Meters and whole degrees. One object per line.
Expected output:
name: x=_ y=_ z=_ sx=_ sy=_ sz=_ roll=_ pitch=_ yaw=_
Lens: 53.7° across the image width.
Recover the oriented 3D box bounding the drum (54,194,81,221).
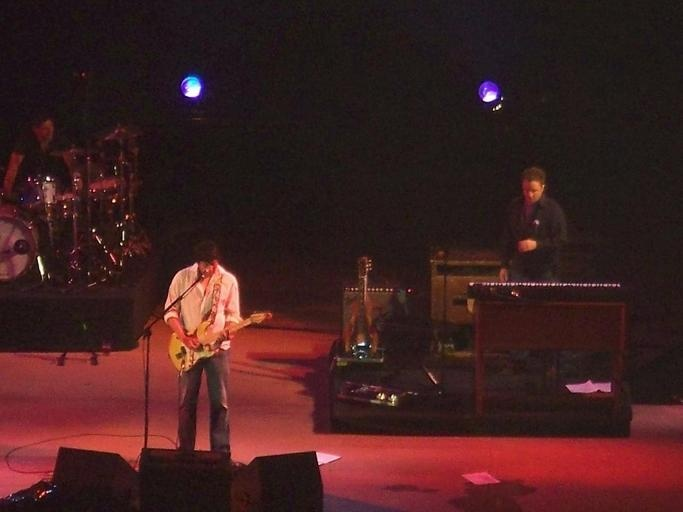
drum: x=-3.288 y=-0.608 z=8.152 sx=0.278 sy=0.312 sz=0.274 roll=1 pitch=4 yaw=-16

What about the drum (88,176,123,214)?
drum: x=-3.132 y=-0.835 z=9.021 sx=0.425 sy=0.512 sz=1.091 roll=-4 pitch=11 yaw=-18

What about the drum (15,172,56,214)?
drum: x=-3.653 y=-0.756 z=8.212 sx=0.487 sy=0.478 sz=0.455 roll=1 pitch=-1 yaw=4

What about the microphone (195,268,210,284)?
microphone: x=-1.034 y=0.151 z=5.060 sx=0.107 sy=0.105 sz=0.192 roll=-3 pitch=11 yaw=-14

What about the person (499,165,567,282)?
person: x=1.890 y=-0.311 z=6.650 sx=0.608 sy=1.149 sz=0.463 roll=2 pitch=11 yaw=12

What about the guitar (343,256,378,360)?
guitar: x=0.193 y=0.483 z=6.968 sx=0.352 sy=1.030 sz=0.476 roll=0 pitch=11 yaw=0

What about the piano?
piano: x=1.901 y=0.888 z=6.130 sx=1.372 sy=1.346 sz=0.944 roll=-2 pitch=-1 yaw=18

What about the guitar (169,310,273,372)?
guitar: x=-0.952 y=0.646 z=5.089 sx=0.691 sy=0.456 sz=0.220 roll=2 pitch=11 yaw=8

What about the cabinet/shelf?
cabinet/shelf: x=1.615 y=0.409 z=8.224 sx=1.059 sy=1.012 sz=0.610 roll=3 pitch=5 yaw=22
